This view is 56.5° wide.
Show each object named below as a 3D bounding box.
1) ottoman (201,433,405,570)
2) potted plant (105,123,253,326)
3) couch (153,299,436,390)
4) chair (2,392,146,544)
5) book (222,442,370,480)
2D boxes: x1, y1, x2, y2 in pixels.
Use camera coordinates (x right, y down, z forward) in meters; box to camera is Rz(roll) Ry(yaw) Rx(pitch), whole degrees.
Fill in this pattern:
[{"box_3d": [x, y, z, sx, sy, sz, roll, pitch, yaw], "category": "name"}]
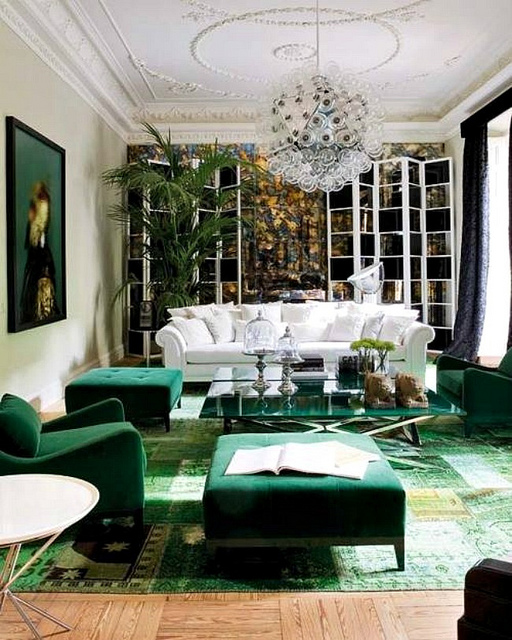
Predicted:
[{"box_3d": [0.172, 0.655, 2.070, 0.899, 0.342, 0.884, 0, 4, -1], "category": "ottoman"}, {"box_3d": [-1.041, -1.410, 6.295, 1.877, 2.997, 1.969, -1, 2, -10], "category": "potted plant"}, {"box_3d": [0.356, 0.197, 5.044, 2.717, 0.775, 1.097, 0, 2, -3], "category": "couch"}, {"box_3d": [-0.750, 0.605, 2.119, 0.672, 0.603, 0.604, 0, 5, -12], "category": "chair"}, {"box_3d": [0.178, 0.541, 1.900, 0.556, 0.032, 0.438, 0, 2, 5], "category": "book"}]
